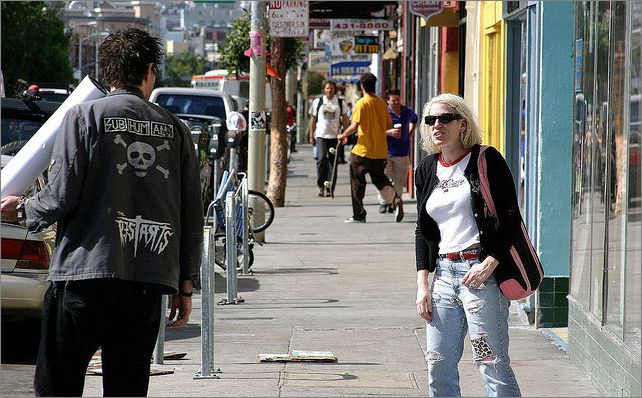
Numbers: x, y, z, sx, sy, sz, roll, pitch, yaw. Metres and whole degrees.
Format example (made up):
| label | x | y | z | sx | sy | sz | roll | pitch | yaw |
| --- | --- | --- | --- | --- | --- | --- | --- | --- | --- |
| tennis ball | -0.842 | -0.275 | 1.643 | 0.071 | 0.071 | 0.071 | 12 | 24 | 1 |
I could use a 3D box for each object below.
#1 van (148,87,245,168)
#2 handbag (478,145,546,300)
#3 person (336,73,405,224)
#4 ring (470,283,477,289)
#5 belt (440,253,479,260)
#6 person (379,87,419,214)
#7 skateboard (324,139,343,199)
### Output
| label | x | y | z | sx | sy | sz | roll | pitch | yaw |
| --- | --- | --- | --- | --- | --- | --- | --- | --- | --- |
| van | -2.425 | -1.280 | 20.944 | 1.205 | 1.106 | 2.006 | 4 | 18 | 5 |
| handbag | 1.373 | 0.231 | 8.746 | 0.484 | 1.197 | 0.328 | -15 | 7 | -7 |
| person | 0.812 | -0.831 | 18.633 | 0.996 | 2.479 | 1.500 | 1 | 7 | 14 |
| ring | 1.146 | 0.656 | 8.623 | 0.059 | 0.050 | 0.024 | 2 | 7 | 16 |
| belt | 1.076 | 0.435 | 8.703 | 0.230 | 0.067 | 0.030 | 2 | 7 | 17 |
| person | 1.419 | -0.882 | 19.770 | 0.683 | 2.037 | 0.768 | -1 | 0 | -10 |
| skateboard | 0.222 | -0.649 | 22.422 | 0.276 | 1.221 | 0.169 | 10 | -1 | -42 |
